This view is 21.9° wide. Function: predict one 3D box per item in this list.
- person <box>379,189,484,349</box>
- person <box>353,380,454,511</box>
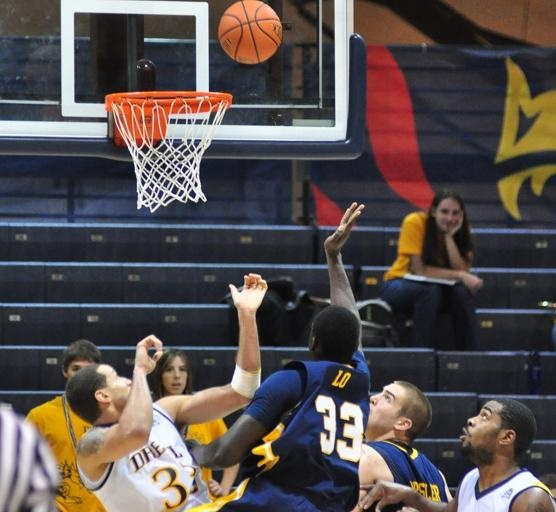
[{"bbox_3d":[1.207,0.140,11.327,0.747,1.255,0.391,-7,-8,4],"label":"person"},{"bbox_3d":[0.752,1.201,9.007,0.549,0.736,1.026,8,-23,21],"label":"person"}]
